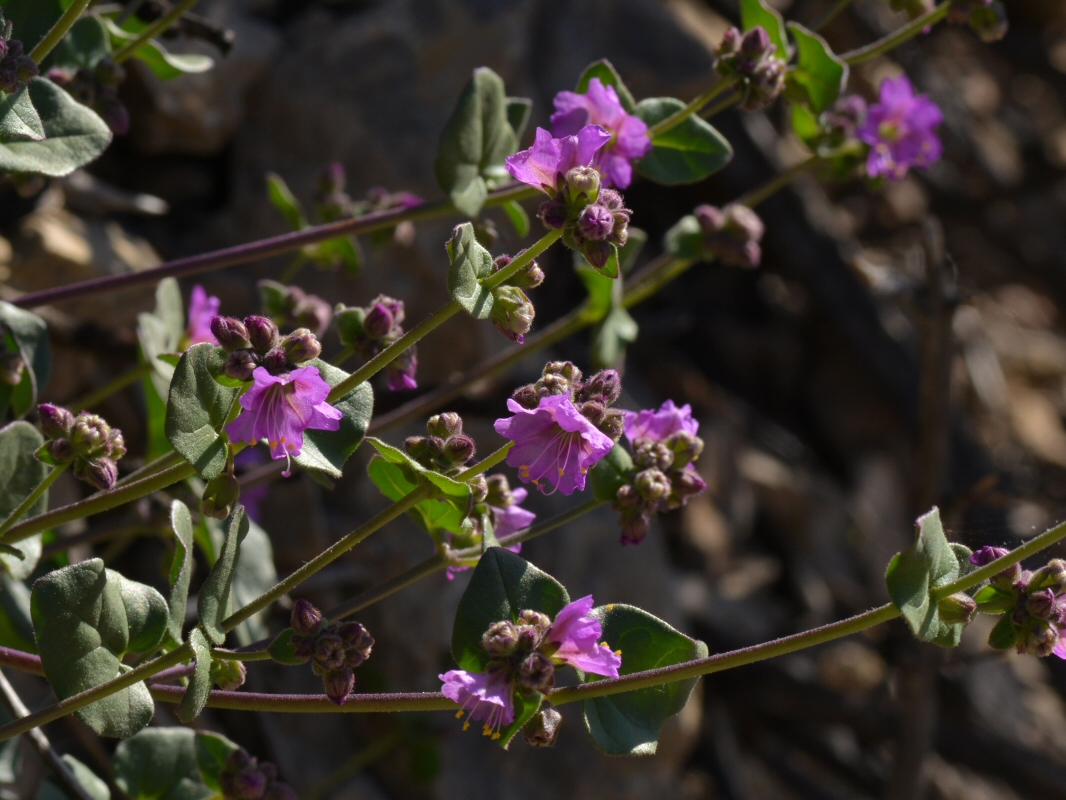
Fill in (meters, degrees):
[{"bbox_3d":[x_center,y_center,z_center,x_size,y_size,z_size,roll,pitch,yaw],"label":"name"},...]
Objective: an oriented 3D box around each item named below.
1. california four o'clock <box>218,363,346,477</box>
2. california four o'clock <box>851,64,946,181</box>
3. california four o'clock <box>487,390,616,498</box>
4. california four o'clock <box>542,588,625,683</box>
[{"bbox_3d":[-0.670,0.024,4.003,0.314,0.300,0.168,-9,36,-9],"label":"california four o'clock"},{"bbox_3d":[1.167,-0.899,4.795,0.326,0.287,0.168,16,73,-24],"label":"california four o'clock"},{"bbox_3d":[0.058,0.112,4.052,0.266,0.286,0.138,-23,13,5],"label":"california four o'clock"},{"bbox_3d":[0.140,0.653,4.070,0.177,0.239,0.206,-16,39,-18],"label":"california four o'clock"}]
